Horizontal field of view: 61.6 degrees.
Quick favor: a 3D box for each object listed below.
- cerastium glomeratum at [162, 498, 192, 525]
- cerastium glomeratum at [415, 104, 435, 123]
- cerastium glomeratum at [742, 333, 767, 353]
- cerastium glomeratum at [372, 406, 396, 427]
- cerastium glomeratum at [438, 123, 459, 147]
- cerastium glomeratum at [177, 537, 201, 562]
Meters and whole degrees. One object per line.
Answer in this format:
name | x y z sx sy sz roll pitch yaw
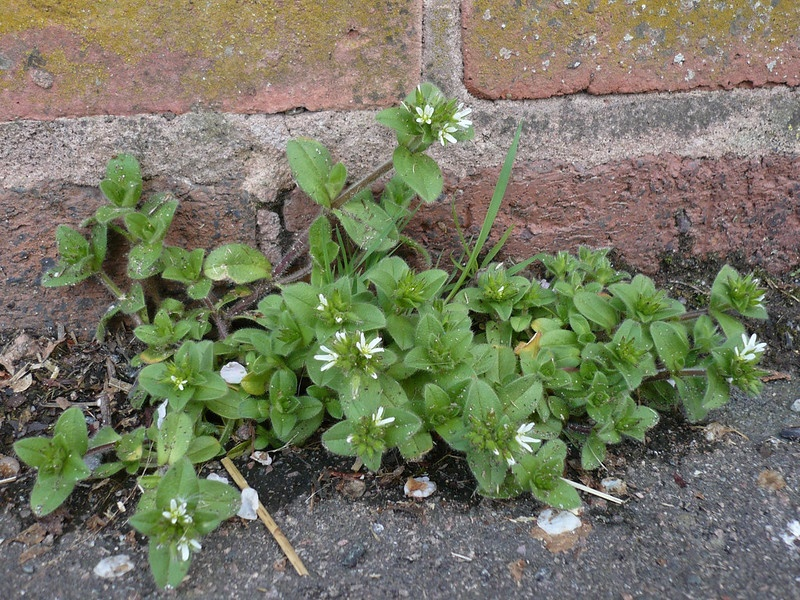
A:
cerastium glomeratum | -0.727 0.688 2.193 0.088 0.074 0.081 -7 49 -2
cerastium glomeratum | 0.089 -0.663 2.402 0.062 0.046 0.048 2 49 6
cerastium glomeratum | 1.343 0.164 2.549 0.067 0.037 0.074 19 59 21
cerastium glomeratum | -0.056 0.407 2.339 0.078 0.071 0.067 -4 49 1
cerastium glomeratum | 0.171 -0.606 2.470 0.076 0.091 0.043 19 3 -22
cerastium glomeratum | -0.682 0.799 2.169 0.060 0.026 0.074 24 77 -29
